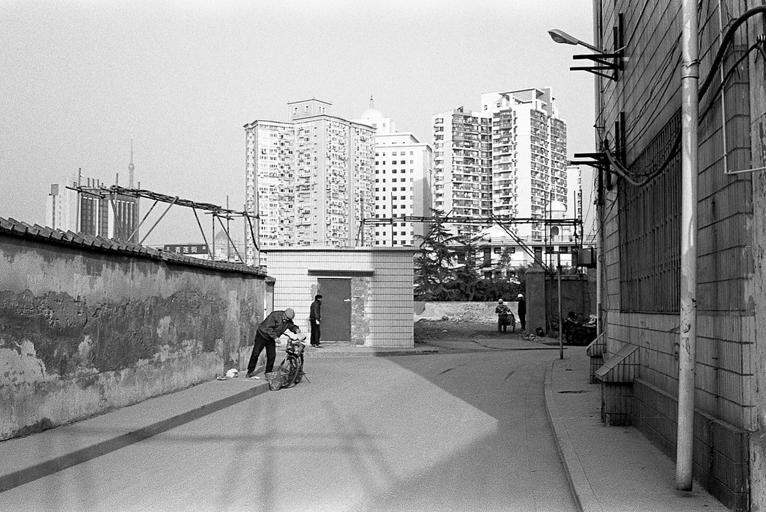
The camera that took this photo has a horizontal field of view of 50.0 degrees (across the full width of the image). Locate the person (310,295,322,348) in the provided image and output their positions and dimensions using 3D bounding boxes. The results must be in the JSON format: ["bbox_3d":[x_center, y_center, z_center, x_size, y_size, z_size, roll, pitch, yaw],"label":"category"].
[{"bbox_3d":[-2.462,2.375,30.071,0.368,1.910,1.005,0,1,-9],"label":"person"}]

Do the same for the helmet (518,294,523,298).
[{"bbox_3d":[7.770,2.223,46.101,0.353,0.153,0.572,-1,-2,-9],"label":"helmet"}]

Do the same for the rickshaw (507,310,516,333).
[{"bbox_3d":[6.866,3.503,43.770,0.714,0.987,1.411,-1,-10,8],"label":"rickshaw"}]

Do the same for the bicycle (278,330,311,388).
[{"bbox_3d":[-2.091,2.545,20.060,0.654,1.294,2.055,2,-9,-1],"label":"bicycle"}]

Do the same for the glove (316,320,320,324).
[{"bbox_3d":[-2.381,2.421,30.104,0.102,0.144,0.191,-2,-1,22],"label":"glove"}]
